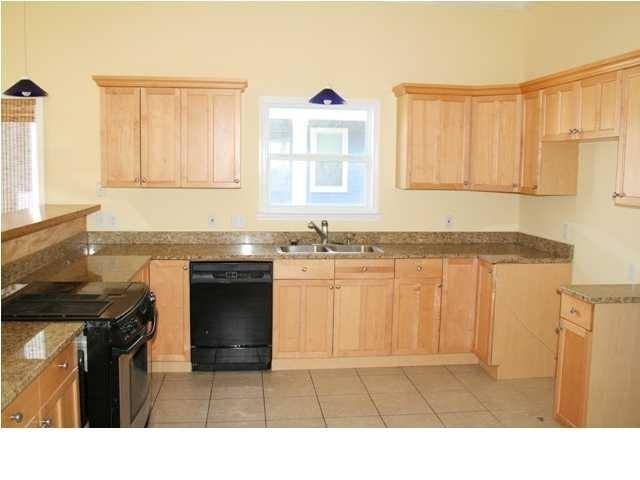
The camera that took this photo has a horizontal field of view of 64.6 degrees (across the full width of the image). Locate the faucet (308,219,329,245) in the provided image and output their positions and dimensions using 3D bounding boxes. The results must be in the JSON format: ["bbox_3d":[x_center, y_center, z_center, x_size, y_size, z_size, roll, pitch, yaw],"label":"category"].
[{"bbox_3d":[0.000,-0.069,4.633,0.181,0.231,0.333,3,12,1],"label":"faucet"}]

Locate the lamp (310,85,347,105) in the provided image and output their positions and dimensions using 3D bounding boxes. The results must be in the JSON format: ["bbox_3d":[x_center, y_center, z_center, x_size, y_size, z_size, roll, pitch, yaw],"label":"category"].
[{"bbox_3d":[0.068,-1.272,4.447,0.309,0.109,0.294,0,3,5],"label":"lamp"}]

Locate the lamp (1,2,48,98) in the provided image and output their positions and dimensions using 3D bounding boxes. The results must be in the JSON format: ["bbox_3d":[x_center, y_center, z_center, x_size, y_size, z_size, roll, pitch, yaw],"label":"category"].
[{"bbox_3d":[-2.440,-1.561,4.129,0.335,0.775,0.579,-4,14,-26],"label":"lamp"}]

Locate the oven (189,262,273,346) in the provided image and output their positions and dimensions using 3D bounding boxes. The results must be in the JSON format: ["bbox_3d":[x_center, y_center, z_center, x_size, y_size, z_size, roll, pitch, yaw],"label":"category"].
[{"bbox_3d":[-0.626,0.560,4.360,0.783,0.740,0.601,-2,-2,16],"label":"oven"}]

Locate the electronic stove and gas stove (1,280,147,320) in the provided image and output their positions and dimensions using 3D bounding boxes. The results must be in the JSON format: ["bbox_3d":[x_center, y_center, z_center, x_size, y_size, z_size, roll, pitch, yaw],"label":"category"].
[{"bbox_3d":[-1.406,0.346,2.877,0.782,0.081,0.686,2,11,-3],"label":"electronic stove and gas stove"}]

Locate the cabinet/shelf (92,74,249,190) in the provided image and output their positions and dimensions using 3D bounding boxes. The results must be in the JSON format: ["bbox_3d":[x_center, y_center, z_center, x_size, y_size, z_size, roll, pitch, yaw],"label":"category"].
[{"bbox_3d":[-1.265,-0.913,4.262,1.110,0.725,0.381,0,3,-4],"label":"cabinet/shelf"}]
